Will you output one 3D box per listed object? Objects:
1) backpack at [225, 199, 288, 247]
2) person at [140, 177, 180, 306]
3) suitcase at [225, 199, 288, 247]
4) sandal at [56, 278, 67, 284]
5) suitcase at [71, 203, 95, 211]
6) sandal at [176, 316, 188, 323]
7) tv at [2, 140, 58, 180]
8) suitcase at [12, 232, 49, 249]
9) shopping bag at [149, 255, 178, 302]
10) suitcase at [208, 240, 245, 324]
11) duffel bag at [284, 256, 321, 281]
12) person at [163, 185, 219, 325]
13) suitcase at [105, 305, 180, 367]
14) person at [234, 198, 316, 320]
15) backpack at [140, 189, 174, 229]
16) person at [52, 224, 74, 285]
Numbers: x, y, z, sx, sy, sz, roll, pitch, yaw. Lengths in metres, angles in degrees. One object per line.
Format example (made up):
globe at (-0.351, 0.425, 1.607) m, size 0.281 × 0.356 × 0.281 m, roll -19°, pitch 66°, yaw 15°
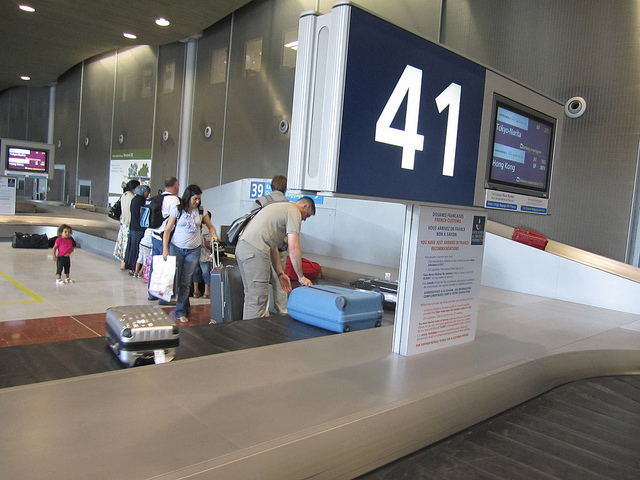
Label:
backpack at (-0.699, -0.273, 4.588) m, size 0.523 × 0.615 × 0.432 m, roll 11°, pitch 7°, yaw -11°
person at (-2.081, 0.003, 6.126) m, size 0.734 × 1.733 × 0.516 m, roll 2°, pitch 2°, yaw -26°
suitcase at (-0.687, -0.177, 4.648) m, size 0.517 × 0.601 × 0.420 m, roll 20°, pitch 6°, yaw -13°
sandal at (-4.042, 0.648, 6.986) m, size 0.167 × 0.073 × 0.058 m, roll 0°, pitch 0°, yaw 36°
suitcase at (-9.667, -1.347, 18.348) m, size 0.838 × 0.227 × 1.800 m, roll 1°, pitch 5°, yaw -29°
sandal at (-1.700, 0.977, 5.527) m, size 0.043 × 0.036 × 0.112 m, roll 20°, pitch 3°, yaw -40°
tv at (-8.920, -2.468, 13.780) m, size 0.529 × 1.099 × 1.463 m, roll 5°, pitch 5°, yaw 25°
suitcase at (-6.575, 0.017, 10.239) m, size 0.692 × 0.341 × 0.177 m, roll 1°, pitch 5°, yaw -29°
shopping bag at (-1.997, 0.467, 5.718) m, size 0.510 × 0.636 × 0.203 m, roll 12°, pitch 17°, yaw 40°
suitcase at (-0.985, 0.561, 4.635) m, size 0.266 × 0.610 × 0.709 m, roll 1°, pitch 5°, yaw -26°
duffel bag at (-0.266, 0.423, 6.949) m, size 0.312 × 0.379 × 0.879 m, roll 5°, pitch 5°, yaw 18°
person at (-1.636, 0.169, 5.620) m, size 0.621 × 1.750 × 0.476 m, roll 2°, pitch -2°, yaw -6°
suitcase at (-1.055, 0.568, 2.683) m, size 0.409 × 0.259 × 0.477 m, roll 1°, pitch 5°, yaw -24°
person at (-0.439, 0.146, 4.423) m, size 0.692 × 1.153 × 0.798 m, roll 3°, pitch 5°, yaw -2°
backpack at (-2.231, -0.408, 6.174) m, size 0.326 × 0.462 × 0.464 m, roll 10°, pitch 12°, yaw 43°
person at (-4.063, 0.197, 7.146) m, size 0.270 × 0.911 × 0.695 m, roll 0°, pitch 5°, yaw -31°
